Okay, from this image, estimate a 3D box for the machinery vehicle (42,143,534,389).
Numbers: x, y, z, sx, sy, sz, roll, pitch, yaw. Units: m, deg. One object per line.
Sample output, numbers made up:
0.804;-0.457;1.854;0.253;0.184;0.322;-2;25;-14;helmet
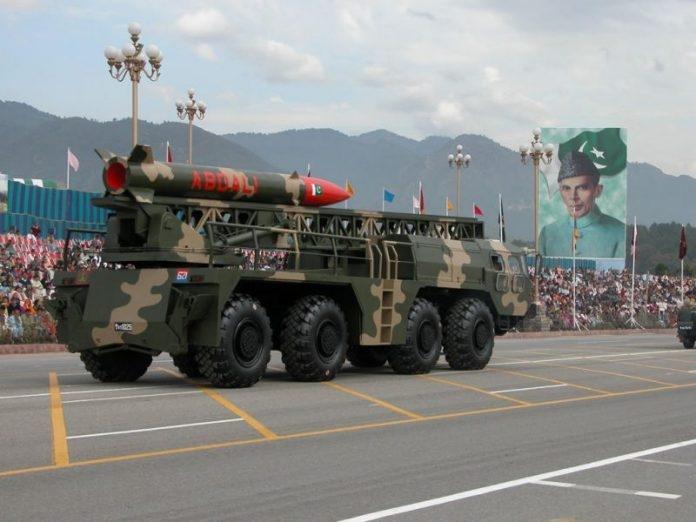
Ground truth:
-0.341;0.476;20.314;10.361;4.842;4.128;3;-11;-45;machinery vehicle
